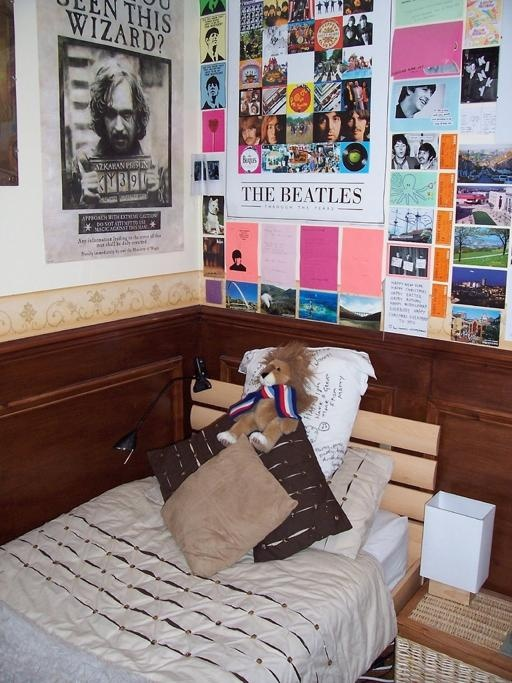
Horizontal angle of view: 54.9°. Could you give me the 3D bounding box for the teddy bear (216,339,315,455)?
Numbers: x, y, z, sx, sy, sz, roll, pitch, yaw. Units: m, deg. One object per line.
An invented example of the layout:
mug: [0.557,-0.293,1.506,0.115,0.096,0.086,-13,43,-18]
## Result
teddy bear: [0.049,0.169,1.804,0.237,0.407,0.132,6,-26,41]
